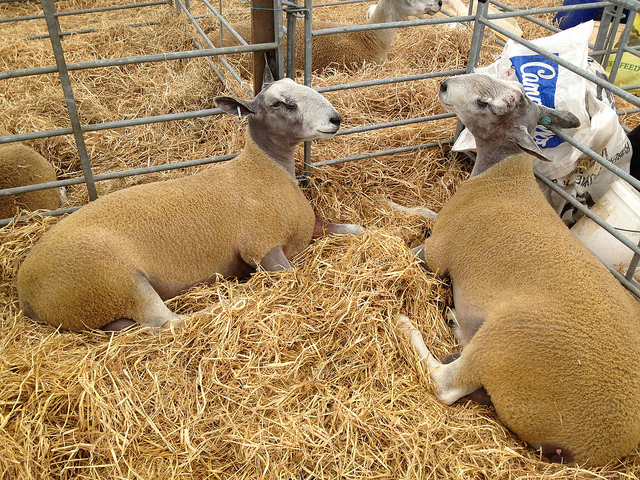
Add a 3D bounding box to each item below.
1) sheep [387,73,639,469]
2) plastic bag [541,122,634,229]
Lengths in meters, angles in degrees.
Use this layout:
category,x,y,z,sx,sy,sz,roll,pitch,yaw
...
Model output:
category,x,y,z,sx,sy,sz,roll,pitch,yaw
sheep,1.290,0.144,4.360,1.148,1.400,2.612,1,54,-14
plastic bag,1.908,-0.466,4.641,0.564,0.316,0.519,-40,74,7
